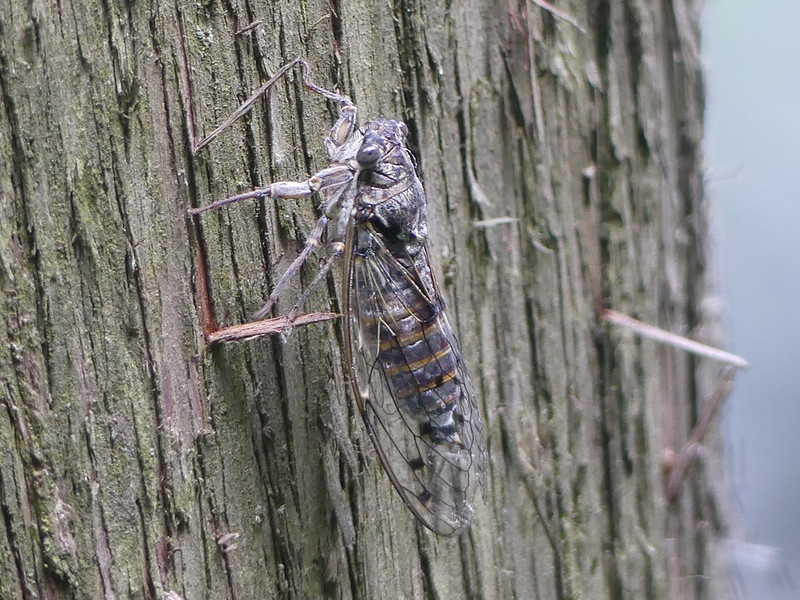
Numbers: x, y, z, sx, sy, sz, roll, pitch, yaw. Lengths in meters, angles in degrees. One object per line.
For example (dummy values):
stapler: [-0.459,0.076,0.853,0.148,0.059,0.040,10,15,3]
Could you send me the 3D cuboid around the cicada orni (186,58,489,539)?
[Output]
cicada orni: [-0.167,0.057,3.389,0.256,0.614,0.980,-8,-79,34]
